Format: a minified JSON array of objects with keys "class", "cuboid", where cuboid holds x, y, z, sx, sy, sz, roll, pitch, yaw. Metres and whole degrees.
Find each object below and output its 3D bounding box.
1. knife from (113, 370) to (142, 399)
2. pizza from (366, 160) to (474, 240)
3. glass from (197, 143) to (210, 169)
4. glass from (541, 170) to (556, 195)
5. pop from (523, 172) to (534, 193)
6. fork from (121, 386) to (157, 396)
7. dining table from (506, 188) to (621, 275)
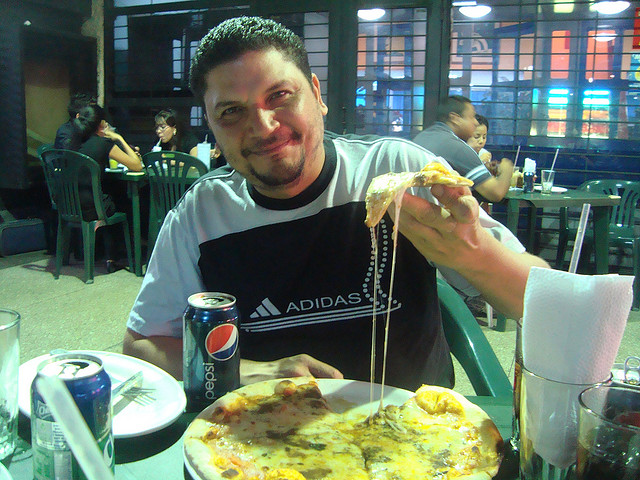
[{"class":"knife","cuboid":[-0.498,0.371,1.521,0.024,0.045,0.110,34,25,7]},{"class":"pizza","cuboid":[0.281,-0.138,1.676,0.185,0.165,0.289,27,41,34]},{"class":"glass","cuboid":[-1.102,-0.839,5.686,0.094,0.182,0.225,-6,14,-25]},{"class":"glass","cuboid":[1.835,-0.484,4.765,0.089,0.177,0.341,4,13,20]},{"class":"pop","cuboid":[1.694,-0.477,4.802,0.075,0.147,0.179,4,13,19]},{"class":"fork","cuboid":[-0.466,0.393,1.530,0.084,0.004,0.026,6,45,2]},{"class":"dining table","cuboid":[1.753,-0.090,4.165,0.586,0.600,0.607,-5,17,-12]}]
